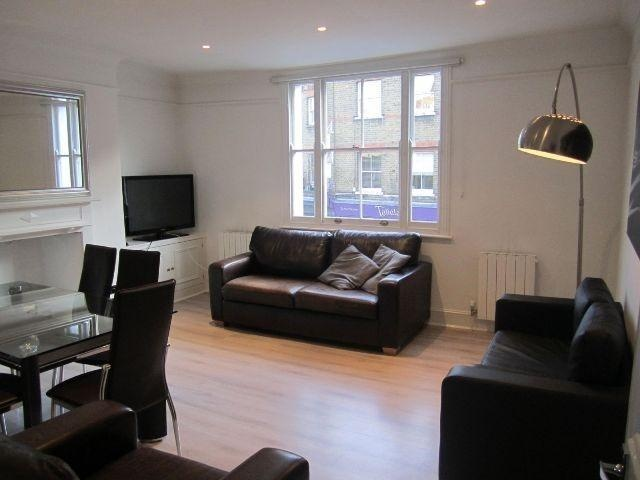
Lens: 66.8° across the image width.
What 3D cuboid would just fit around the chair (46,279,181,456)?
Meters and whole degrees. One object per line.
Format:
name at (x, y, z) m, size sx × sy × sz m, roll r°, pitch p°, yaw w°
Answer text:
chair at (-1.316, 0.852, 3.092) m, size 0.708 × 1.164 × 0.664 m, roll 5°, pitch 3°, yaw 36°

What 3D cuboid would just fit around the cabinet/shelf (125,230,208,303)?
cabinet/shelf at (-1.634, 0.258, 5.160) m, size 0.311 × 0.692 × 0.831 m, roll 5°, pitch 10°, yaw 28°

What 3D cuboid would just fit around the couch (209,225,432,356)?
couch at (-0.035, 0.466, 5.399) m, size 2.217 × 1.146 × 1.084 m, roll 4°, pitch 7°, yaw 27°

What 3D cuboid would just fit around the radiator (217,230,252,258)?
radiator at (-1.102, 0.049, 6.350) m, size 0.346 × 0.328 × 0.114 m, roll 3°, pitch 6°, yaw 27°

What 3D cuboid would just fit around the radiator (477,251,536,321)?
radiator at (1.839, 0.420, 4.736) m, size 0.666 × 0.884 × 0.103 m, roll 3°, pitch 4°, yaw 28°

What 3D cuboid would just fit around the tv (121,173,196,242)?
tv at (-2.069, -0.429, 6.309) m, size 0.285 × 0.855 × 1.136 m, roll 7°, pitch 11°, yaw 32°

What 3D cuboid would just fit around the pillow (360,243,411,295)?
pillow at (0.679, 0.306, 5.010) m, size 0.396 × 0.376 × 0.562 m, roll 6°, pitch 15°, yaw 28°
